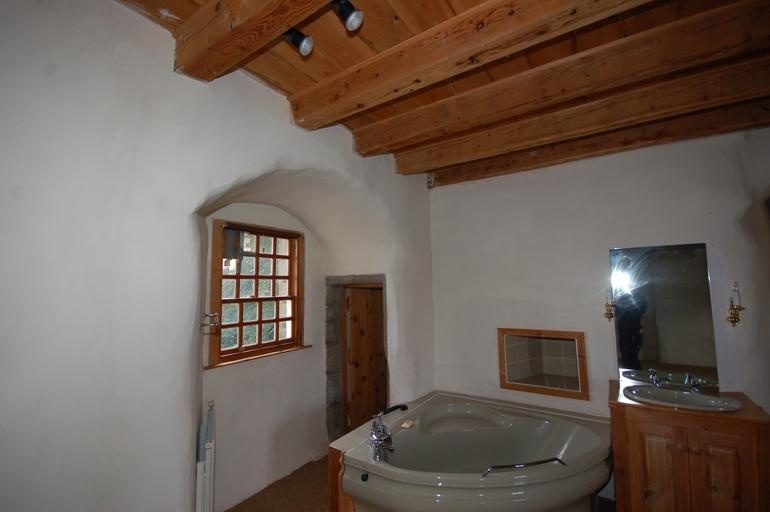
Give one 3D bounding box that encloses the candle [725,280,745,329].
[{"bbox_3d":[2.732,0.373,3.991,0.123,0.345,0.043,-3,-6,26],"label":"candle"}]
